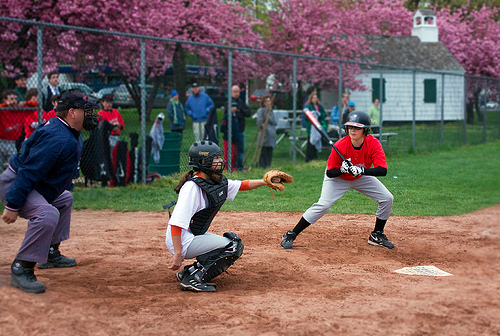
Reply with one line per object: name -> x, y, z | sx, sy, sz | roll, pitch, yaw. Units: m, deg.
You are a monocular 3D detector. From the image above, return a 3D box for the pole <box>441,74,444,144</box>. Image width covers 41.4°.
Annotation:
pole -> 6.478, -1.964, 22.194 | 0.105, 2.275, 0.602 | 1, 2, 16

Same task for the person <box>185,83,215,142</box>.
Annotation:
person -> -1.310, -1.298, 17.147 | 0.650, 1.704, 0.452 | -6, 10, -7

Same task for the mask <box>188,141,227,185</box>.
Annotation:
mask -> -0.698, -0.118, 10.805 | 0.664, 0.730, 0.533 | 2, 7, -1

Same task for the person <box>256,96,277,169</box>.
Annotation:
person -> 0.482, -0.827, 17.997 | 0.581, 2.350, 0.611 | -9, -16, 42

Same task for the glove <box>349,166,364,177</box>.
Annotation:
glove -> 1.919, 0.049, 11.887 | 0.271, 0.184, 0.142 | 0, 2, 2

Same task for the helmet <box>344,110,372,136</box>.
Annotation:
helmet -> 1.959, -0.820, 12.074 | 0.468, 0.455, 0.401 | 0, 2, 8

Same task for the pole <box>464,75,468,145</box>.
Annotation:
pole -> 7.627, -1.994, 23.344 | 0.099, 2.318, 0.721 | 1, 2, 18

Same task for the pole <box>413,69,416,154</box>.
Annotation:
pole -> 5.243, -1.760, 21.067 | 0.103, 2.536, 0.492 | 1, 2, 14

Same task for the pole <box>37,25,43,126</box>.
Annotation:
pole -> -4.594, -2.024, 14.426 | 0.122, 2.125, 0.544 | 0, 2, -18
